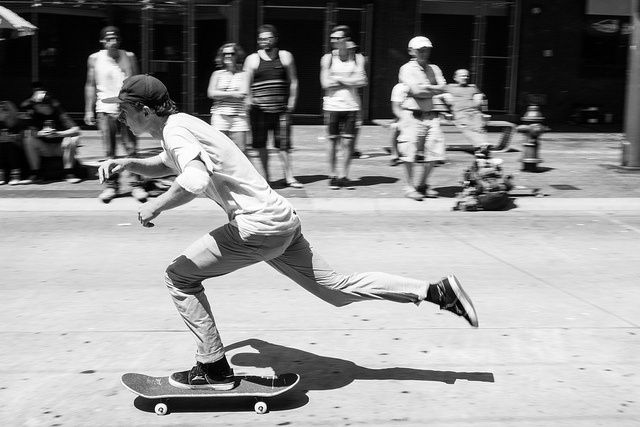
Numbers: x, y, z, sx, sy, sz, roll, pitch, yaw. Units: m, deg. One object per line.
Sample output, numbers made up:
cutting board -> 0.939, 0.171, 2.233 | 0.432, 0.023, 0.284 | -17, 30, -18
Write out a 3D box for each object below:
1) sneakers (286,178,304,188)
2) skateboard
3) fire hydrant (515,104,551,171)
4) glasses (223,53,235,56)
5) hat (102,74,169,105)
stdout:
sneakers -> -0.509, -0.543, 13.390 | 0.430, 0.124, 0.115 | 9, 42, 4
skateboard -> -0.869, 1.444, 6.026 | 1.630, 0.170, 0.438 | 0, 7, -3
fire hydrant -> 4.411, -1.563, 15.383 | 0.621, 1.406, 1.006 | 3, 8, 13
glasses -> -1.527, -2.672, 12.367 | 0.185, 0.055, 0.077 | 0, 6, -9
hat -> -1.401, -0.970, 5.809 | 0.383, 0.228, 0.124 | -1, 8, -10
